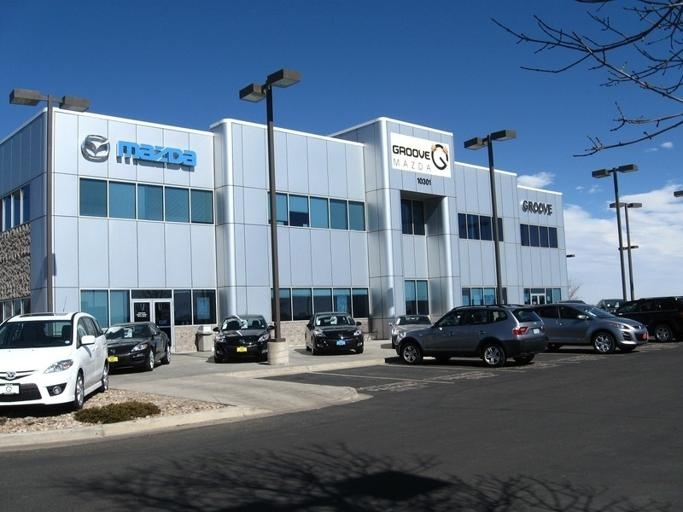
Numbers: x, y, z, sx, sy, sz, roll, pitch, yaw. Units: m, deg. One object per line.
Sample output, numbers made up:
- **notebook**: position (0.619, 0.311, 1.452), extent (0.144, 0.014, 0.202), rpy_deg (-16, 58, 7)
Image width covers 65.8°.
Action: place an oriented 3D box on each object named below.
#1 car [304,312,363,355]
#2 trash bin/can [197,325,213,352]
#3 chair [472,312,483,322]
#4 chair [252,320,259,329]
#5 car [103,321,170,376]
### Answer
- **car**: position (-0.339, 3.431, 23.525), extent (2.060, 1.865, 2.414), rpy_deg (1, -7, -23)
- **trash bin/can**: position (-7.187, 4.317, 27.858), extent (0.931, 1.348, 0.797), rpy_deg (0, -7, -16)
- **chair**: position (4.479, 2.013, 17.362), extent (0.243, 0.451, 0.329), rpy_deg (-1, 3, -30)
- **chair**: position (-3.560, 2.885, 22.140), extent (0.349, 0.340, 0.180), rpy_deg (-4, -4, 41)
- **car**: position (-7.463, 3.316, 19.541), extent (1.248, 0.940, 2.767), rpy_deg (-3, -9, 3)
